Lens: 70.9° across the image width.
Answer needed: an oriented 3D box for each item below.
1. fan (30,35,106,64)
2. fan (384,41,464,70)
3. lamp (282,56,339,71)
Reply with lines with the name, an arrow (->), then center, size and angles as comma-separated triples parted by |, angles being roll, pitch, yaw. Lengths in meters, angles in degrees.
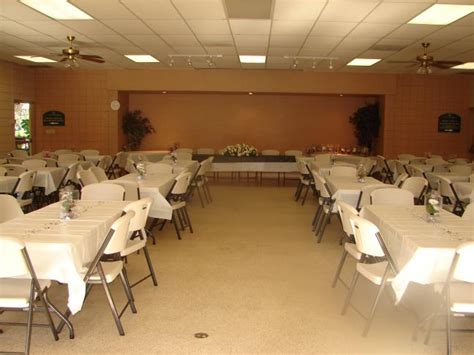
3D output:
fan -> -3.343, -2.576, 6.726 | 1.044, 0.352, 1.018 | 22, 29, 35
fan -> 3.807, -2.416, 6.796 | 1.341, 0.491, 1.467 | 6, 15, 17
lamp -> 2.056, -3.142, 9.346 | 1.433, 0.341, 2.344 | 3, 10, 14
